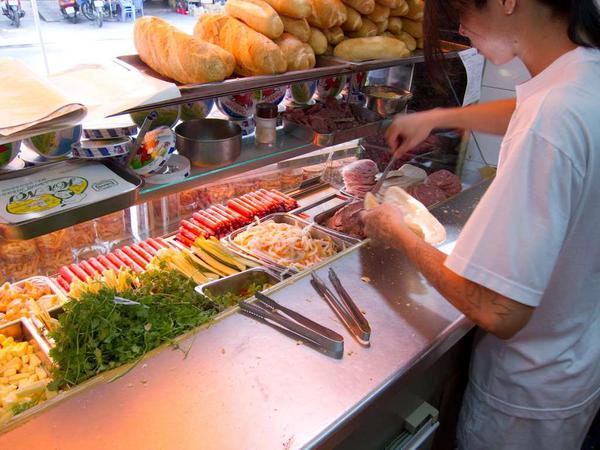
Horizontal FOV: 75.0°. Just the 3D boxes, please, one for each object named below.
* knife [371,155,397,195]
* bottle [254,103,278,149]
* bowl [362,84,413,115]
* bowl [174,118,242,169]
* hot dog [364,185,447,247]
[{"bbox_3d":[0.508,-0.302,2.368,0.046,0.346,0.078,32,17,11],"label":"knife"},{"bbox_3d":[-0.167,-0.502,1.965,0.123,0.194,0.118,0,22,0],"label":"bottle"},{"bbox_3d":[0.525,-0.752,2.384,0.314,0.121,0.312,4,28,-2],"label":"bowl"},{"bbox_3d":[-0.396,-0.380,1.757,0.276,0.129,0.260,4,32,-3],"label":"bowl"},{"bbox_3d":[0.564,-0.061,2.107,0.270,0.100,0.437,-4,37,-39],"label":"hot dog"}]
